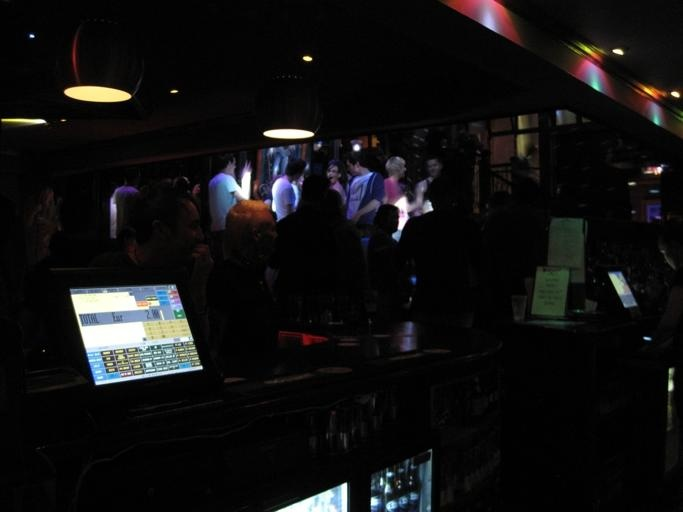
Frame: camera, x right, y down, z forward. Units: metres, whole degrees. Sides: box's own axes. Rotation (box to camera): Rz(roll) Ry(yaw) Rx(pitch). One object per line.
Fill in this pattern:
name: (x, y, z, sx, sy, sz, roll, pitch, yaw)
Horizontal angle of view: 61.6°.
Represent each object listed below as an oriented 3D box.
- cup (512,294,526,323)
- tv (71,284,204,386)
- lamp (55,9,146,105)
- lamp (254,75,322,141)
cup: (0.972, 0.289, 3.147, 0.109, 0.178, 0.114, -3, -2, 0)
tv: (-0.650, 0.239, 1.820, 0.179, 0.319, 0.423, -1, -1, 41)
lamp: (-1.033, -0.835, 2.440, 0.274, 0.279, 0.285, 4, 17, -3)
lamp: (-0.293, -0.794, 3.166, 0.339, 0.312, 0.345, -2, 4, -19)
